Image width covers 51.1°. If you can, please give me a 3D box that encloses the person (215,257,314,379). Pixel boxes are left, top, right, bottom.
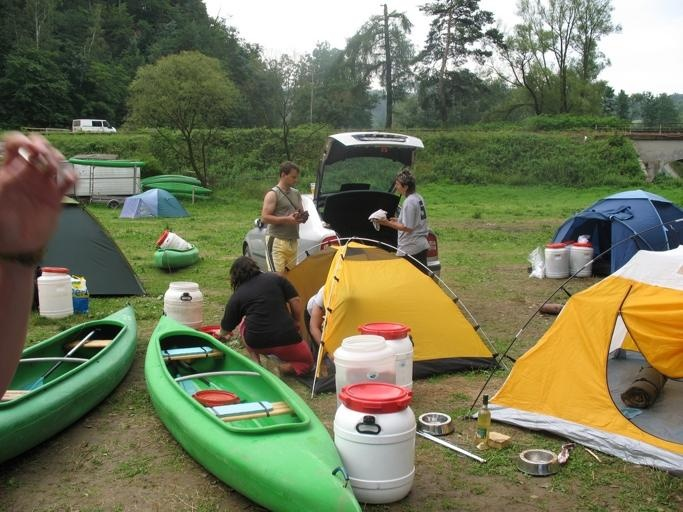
[{"bbox_3d":[-0.988,0.739,8.593,1.036,1.596,0.884,-12,-4,0],"label":"person"}]

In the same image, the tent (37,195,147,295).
[{"bbox_3d":[-4.272,-0.201,12.373,2.132,1.338,2.099,-4,9,-24],"label":"tent"}]

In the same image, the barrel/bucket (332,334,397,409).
[{"bbox_3d":[0.202,1.143,7.121,0.619,0.658,0.614,-1,0,0],"label":"barrel/bucket"}]

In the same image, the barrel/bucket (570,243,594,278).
[{"bbox_3d":[4.470,0.067,13.305,0.583,0.780,0.629,0,2,0],"label":"barrel/bucket"}]

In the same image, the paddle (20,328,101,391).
[{"bbox_3d":[-3.181,1.193,8.079,1.025,0.172,0.054,-41,38,0],"label":"paddle"}]

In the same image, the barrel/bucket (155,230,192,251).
[{"bbox_3d":[-3.300,-0.320,14.209,0.303,0.445,0.806,4,9,31],"label":"barrel/bucket"}]

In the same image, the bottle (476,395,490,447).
[{"bbox_3d":[1.395,1.591,7.020,0.131,0.512,0.255,1,8,11],"label":"bottle"}]

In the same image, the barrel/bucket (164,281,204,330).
[{"bbox_3d":[-2.144,0.639,9.715,0.564,0.621,0.619,1,2,0],"label":"barrel/bucket"}]

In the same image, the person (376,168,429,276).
[{"bbox_3d":[0.889,-0.213,9.906,0.625,1.838,0.632,10,21,37],"label":"person"}]

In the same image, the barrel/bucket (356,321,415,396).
[{"bbox_3d":[0.384,1.003,7.641,0.527,0.704,0.706,-1,0,-2],"label":"barrel/bucket"}]

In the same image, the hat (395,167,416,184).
[{"bbox_3d":[0.883,-1.085,9.816,0.207,0.236,0.264,13,27,24],"label":"hat"}]

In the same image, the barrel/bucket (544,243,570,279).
[{"bbox_3d":[4.268,0.059,13.675,0.596,0.656,0.603,-1,4,0],"label":"barrel/bucket"}]
